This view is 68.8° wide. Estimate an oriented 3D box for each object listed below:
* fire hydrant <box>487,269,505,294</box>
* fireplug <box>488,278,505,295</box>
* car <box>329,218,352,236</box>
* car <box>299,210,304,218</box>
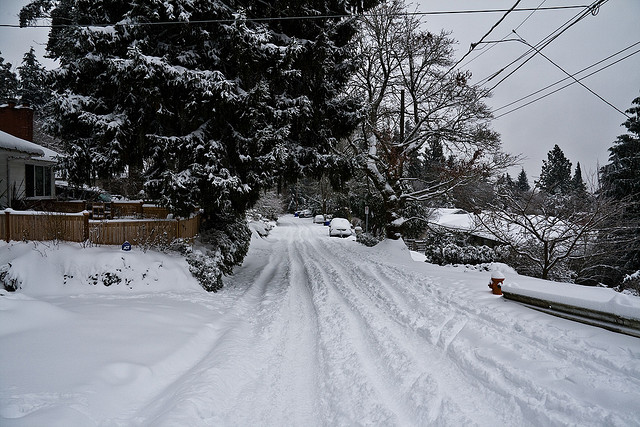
[{"bbox_3d":[5.613,2.198,14.995,0.483,0.812,0.380,2,0,38],"label":"fire hydrant"},{"bbox_3d":[5.633,2.329,14.887,0.336,0.546,0.249,2,0,13],"label":"fireplug"},{"bbox_3d":[1.543,1.126,36.683,1.561,1.340,1.929,3,-1,3],"label":"car"},{"bbox_3d":[-2.986,0.198,74.775,0.702,1.079,1.549,3,-1,-3],"label":"car"}]
